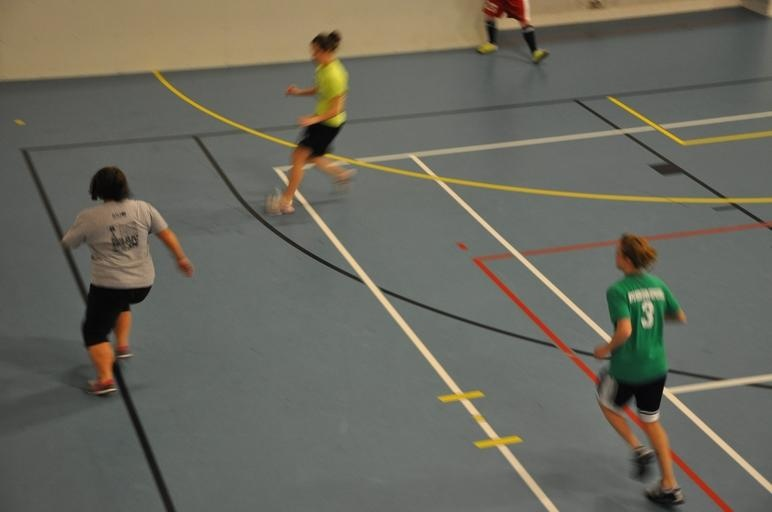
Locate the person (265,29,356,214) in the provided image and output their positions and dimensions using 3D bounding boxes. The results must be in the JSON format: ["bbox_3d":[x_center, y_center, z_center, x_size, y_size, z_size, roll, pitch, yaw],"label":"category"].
[{"bbox_3d":[-1.046,-1.914,10.247,1.104,2.396,1.236,-5,18,-2],"label":"person"}]

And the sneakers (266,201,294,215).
[{"bbox_3d":[-1.465,-0.693,10.130,0.414,0.158,0.140,-3,30,-5],"label":"sneakers"}]

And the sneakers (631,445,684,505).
[{"bbox_3d":[2.539,2.133,6.747,0.239,0.274,0.644,-14,38,-7],"label":"sneakers"}]

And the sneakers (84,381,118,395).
[{"bbox_3d":[-2.960,1.373,7.484,0.303,0.128,0.133,8,19,21],"label":"sneakers"}]

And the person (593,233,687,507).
[{"bbox_3d":[2.363,1.061,6.673,0.743,2.428,0.668,2,19,22],"label":"person"}]

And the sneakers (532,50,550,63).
[{"bbox_3d":[3.078,-4.020,14.425,0.169,0.195,0.385,39,3,3],"label":"sneakers"}]

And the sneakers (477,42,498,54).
[{"bbox_3d":[2.131,-4.336,15.019,0.353,0.195,0.155,-10,-24,-14],"label":"sneakers"}]

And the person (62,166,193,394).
[{"bbox_3d":[-2.716,0.236,7.452,1.082,2.276,0.386,-13,19,-24],"label":"person"}]
